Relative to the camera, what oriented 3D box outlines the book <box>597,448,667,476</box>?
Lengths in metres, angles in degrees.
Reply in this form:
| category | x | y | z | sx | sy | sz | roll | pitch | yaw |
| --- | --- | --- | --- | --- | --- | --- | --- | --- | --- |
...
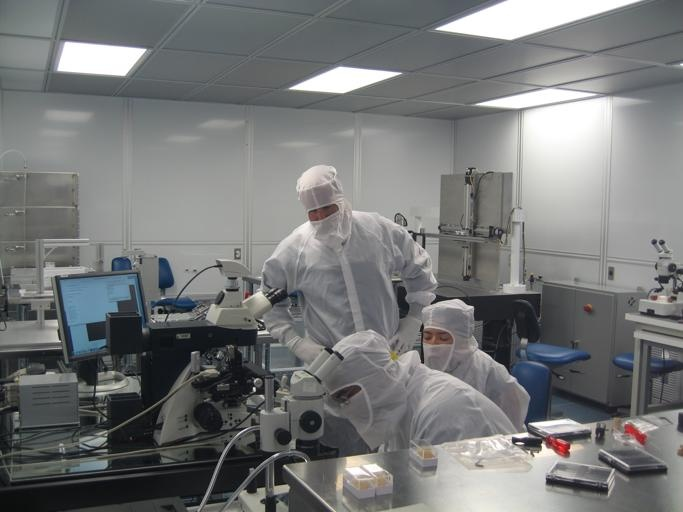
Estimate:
| category | x | y | z | sx | sy | sz | roll | pitch | yaw |
| --- | --- | --- | --- | --- | --- | --- | --- | --- | --- |
| book | 0.761 | 0.537 | 1.377 | 0.148 | 0.035 | 0.134 | 4 | 2 | -4 |

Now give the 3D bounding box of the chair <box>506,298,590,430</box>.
| category | x | y | z | sx | sy | sz | roll | pitch | yaw |
| --- | --- | --- | --- | --- | --- | --- | --- | --- | --- |
| chair | 1.416 | 0.687 | 3.836 | 0.593 | 1.089 | 0.562 | 7 | 3 | 5 |

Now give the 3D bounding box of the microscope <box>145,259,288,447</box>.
| category | x | y | z | sx | sy | sz | roll | pitch | yaw |
| --- | --- | --- | --- | --- | --- | --- | --- | --- | --- |
| microscope | -0.467 | 0.364 | 2.012 | 0.491 | 0.719 | 0.403 | -1 | 11 | -13 |

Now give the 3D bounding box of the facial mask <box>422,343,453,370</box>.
| category | x | y | z | sx | sy | sz | roll | pitch | yaw |
| --- | --- | --- | --- | --- | --- | --- | --- | --- | --- |
| facial mask | 0.446 | 0.453 | 2.473 | 0.119 | 0.106 | 0.121 | 3 | 3 | 32 |

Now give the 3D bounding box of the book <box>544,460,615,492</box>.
| category | x | y | z | sx | sy | sz | roll | pitch | yaw |
| --- | --- | --- | --- | --- | --- | --- | --- | --- | --- |
| book | 0.599 | 0.552 | 1.324 | 0.170 | 0.039 | 0.093 | -3 | 3 | 18 |

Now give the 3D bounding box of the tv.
| category | x | y | z | sx | sy | sz | roll | pitch | yaw |
| --- | --- | --- | --- | --- | --- | --- | --- | --- | --- |
| tv | -1.052 | 0.332 | 2.302 | 0.234 | 0.565 | 0.501 | 3 | 2 | 29 |

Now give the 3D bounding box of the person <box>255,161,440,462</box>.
| category | x | y | z | sx | sy | sz | roll | pitch | yaw |
| --- | --- | --- | --- | --- | --- | --- | --- | --- | --- |
| person | 0.082 | 0.515 | 2.681 | 0.871 | 1.939 | 0.632 | -6 | -4 | -5 |
